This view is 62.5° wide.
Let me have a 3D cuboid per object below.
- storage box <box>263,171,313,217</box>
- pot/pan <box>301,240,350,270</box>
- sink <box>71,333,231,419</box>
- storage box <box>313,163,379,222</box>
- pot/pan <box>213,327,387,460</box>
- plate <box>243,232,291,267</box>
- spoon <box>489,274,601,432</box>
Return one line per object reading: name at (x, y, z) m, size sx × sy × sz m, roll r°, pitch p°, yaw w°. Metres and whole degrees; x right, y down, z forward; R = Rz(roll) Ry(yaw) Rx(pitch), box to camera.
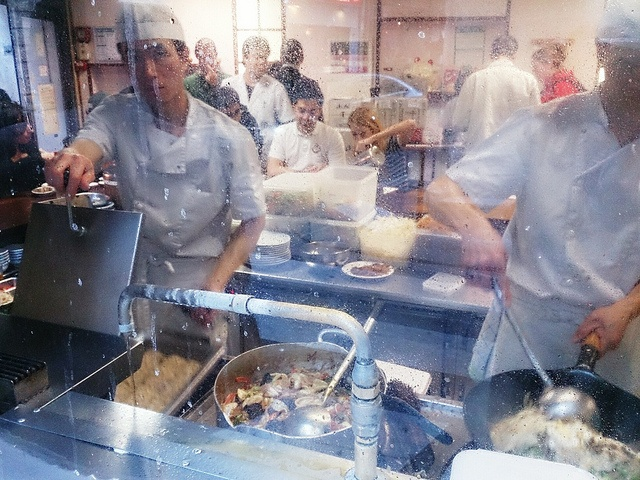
storage box at (-0.093, -0.145, 1.708) m, size 0.140 × 0.087 × 0.141 m, roll 1°, pitch 34°, yaw 7°
pot/pan at (0.020, 0.042, 1.688) m, size 0.099 × 0.038 × 0.097 m, roll -1°, pitch 18°, yaw 9°
sink at (-0.469, 0.398, 1.543) m, size 0.278 × 0.173 × 0.370 m, roll 7°, pitch 23°, yaw 18°
storage box at (0.102, -0.165, 1.709) m, size 0.179 × 0.173 × 0.180 m, roll 11°, pitch 23°, yaw 29°
pot/pan at (-0.058, 0.417, 1.422) m, size 0.468 × 0.136 × 0.369 m, roll 3°, pitch 22°, yaw 9°
plate at (-0.159, 0.032, 1.664) m, size 0.118 × 0.052 × 0.117 m, roll 0°, pitch 23°, yaw -1°
spoon at (0.589, 0.301, 1.400) m, size 0.103 × 0.040 × 0.375 m, roll -24°, pitch 52°, yaw 13°
